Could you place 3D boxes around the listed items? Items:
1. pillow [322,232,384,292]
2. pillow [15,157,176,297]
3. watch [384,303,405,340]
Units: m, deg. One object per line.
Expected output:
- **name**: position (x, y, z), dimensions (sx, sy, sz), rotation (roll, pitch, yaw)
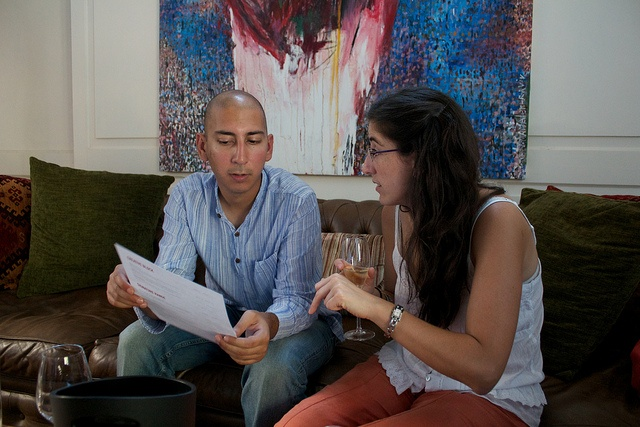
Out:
- **pillow**: position (0.118, 0.227, 2.478), dimensions (0.272, 0.281, 0.088), rotation (-5, -19, 20)
- **pillow**: position (-1.239, 0.093, 2.594), dimensions (0.764, 0.816, 0.278), rotation (1, -8, -4)
- **watch**: position (0.246, 0.360, 1.589), dimensions (0.044, 0.084, 0.079), rotation (32, 21, 15)
